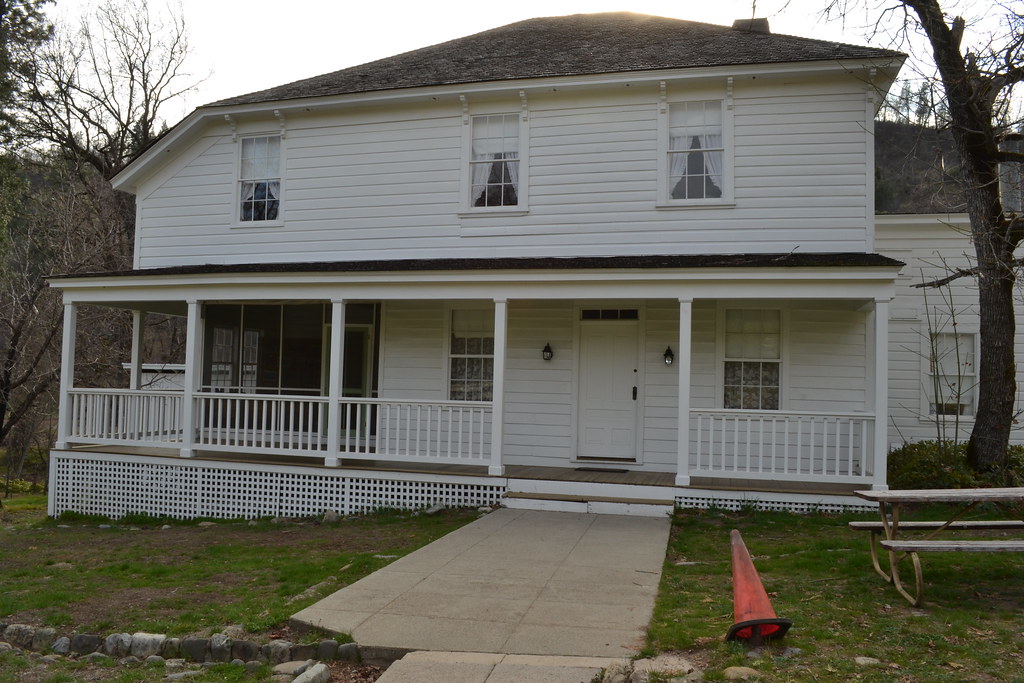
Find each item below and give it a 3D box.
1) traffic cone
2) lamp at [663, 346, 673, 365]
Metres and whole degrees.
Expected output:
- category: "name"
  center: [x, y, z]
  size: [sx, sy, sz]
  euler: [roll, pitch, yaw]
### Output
- category: "traffic cone"
  center: [3.151, 3.442, 12.676]
  size: [0.774, 0.945, 0.945]
  euler: [-6, 12, -11]
- category: "lamp"
  center: [3.278, 0.309, 19.736]
  size: [0.193, 0.378, 0.184]
  euler: [-12, 15, -32]
